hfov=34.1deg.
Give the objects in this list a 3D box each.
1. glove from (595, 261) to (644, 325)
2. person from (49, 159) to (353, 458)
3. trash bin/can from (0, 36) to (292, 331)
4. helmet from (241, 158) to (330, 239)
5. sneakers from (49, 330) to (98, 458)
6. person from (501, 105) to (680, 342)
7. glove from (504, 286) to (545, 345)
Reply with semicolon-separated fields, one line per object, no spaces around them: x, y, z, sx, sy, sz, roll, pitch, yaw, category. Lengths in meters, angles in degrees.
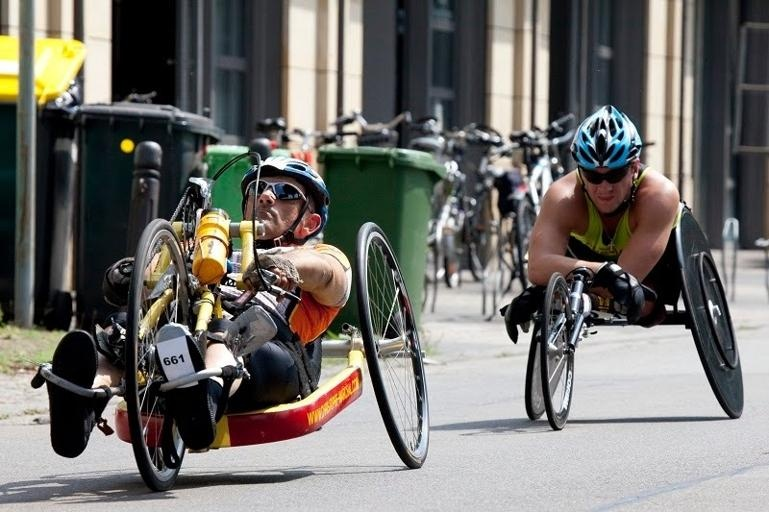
1.566;0.242;8.356;0.194;0.425;0.239;-39;-17;-24;glove
-0.927;0.099;7.130;1.085;1.577;1.998;1;-2;22;person
-2.713;-0.570;12.062;2.060;3.010;2.193;1;2;0;trash bin/can
-0.573;-0.391;7.358;0.396;0.549;0.427;5;1;6;helmet
-1.617;0.707;6.681;0.214;0.705;0.257;8;1;10;sneakers
1.489;-0.156;8.661;0.960;1.544;1.696;6;9;23;person
0.941;0.404;8.504;0.286;0.392;0.253;1;6;8;glove
